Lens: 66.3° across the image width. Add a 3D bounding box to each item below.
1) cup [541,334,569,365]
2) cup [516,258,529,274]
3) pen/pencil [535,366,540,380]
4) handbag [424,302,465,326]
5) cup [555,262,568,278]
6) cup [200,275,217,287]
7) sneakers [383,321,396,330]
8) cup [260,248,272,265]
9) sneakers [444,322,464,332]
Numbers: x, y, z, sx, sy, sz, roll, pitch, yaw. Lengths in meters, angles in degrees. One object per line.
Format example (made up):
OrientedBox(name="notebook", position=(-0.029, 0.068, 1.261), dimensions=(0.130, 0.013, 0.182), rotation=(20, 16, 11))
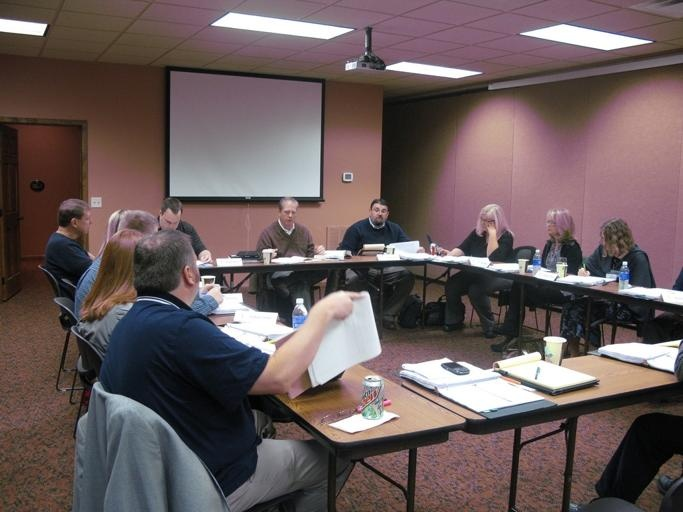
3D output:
OrientedBox(name="cup", position=(1.050, 0.457, 2.596), dimensions=(0.118, 0.131, 0.121), rotation=(0, 1, 0))
OrientedBox(name="cup", position=(1.672, 0.094, 4.866), dimensions=(0.114, 0.133, 0.116), rotation=(2, 8, 0))
OrientedBox(name="pen/pencil", position=(0.882, 0.527, 2.350), dimensions=(0.022, 0.014, 0.095), rotation=(12, 17, 18))
OrientedBox(name="handbag", position=(1.163, 0.635, 5.905), dimensions=(0.366, 0.373, 0.273), rotation=(2, -3, -2))
OrientedBox(name="cup", position=(1.985, 0.128, 4.704), dimensions=(0.096, 0.161, 0.093), rotation=(1, 11, 0))
OrientedBox(name="cup", position=(-1.028, 0.196, 4.022), dimensions=(0.126, 0.103, 0.127), rotation=(1, -1, 0))
OrientedBox(name="sneakers", position=(0.548, 0.801, 5.970), dimensions=(0.059, 0.075, 0.181), rotation=(-1, 2, -30))
OrientedBox(name="cup", position=(-0.744, 0.007, 5.249), dimensions=(0.120, 0.149, 0.125), rotation=(1, 1, 0))
OrientedBox(name="sneakers", position=(1.259, 0.801, 5.887), dimensions=(0.239, 0.115, 0.083), rotation=(1, 3, -31))
